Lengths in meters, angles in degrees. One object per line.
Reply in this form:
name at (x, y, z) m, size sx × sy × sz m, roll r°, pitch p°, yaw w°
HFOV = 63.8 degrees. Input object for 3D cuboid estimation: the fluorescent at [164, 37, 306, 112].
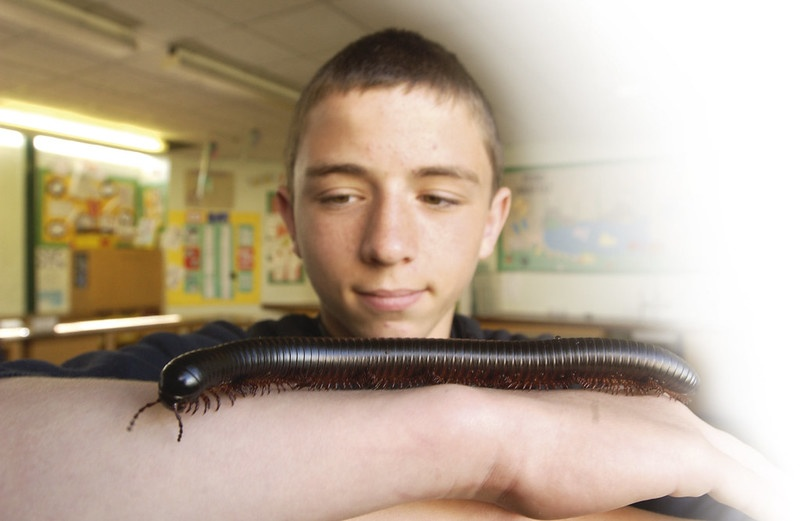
fluorescent at (-1.044, -1.236, 4.062) m, size 0.841 × 0.160 × 0.145 m, roll 21°, pitch -31°, yaw -12°
